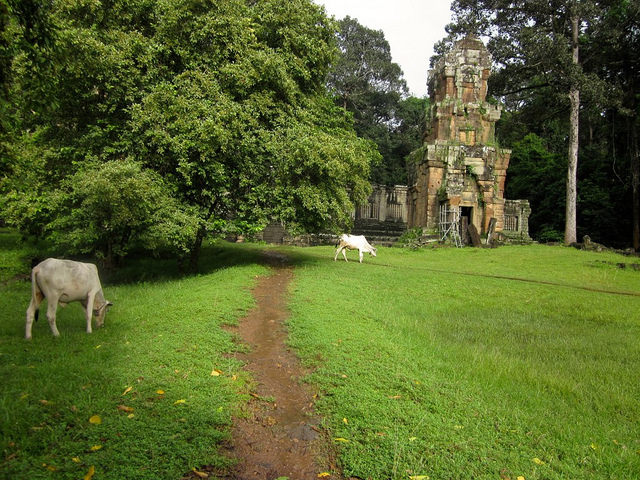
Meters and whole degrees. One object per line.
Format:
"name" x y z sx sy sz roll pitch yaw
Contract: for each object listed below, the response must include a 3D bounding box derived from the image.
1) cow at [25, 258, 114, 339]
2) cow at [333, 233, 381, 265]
"cow" -5.581 1.315 11.326 0.703 1.729 2.249 -2 -6 18
"cow" 1.429 0.282 20.142 1.397 1.180 2.213 4 10 15
